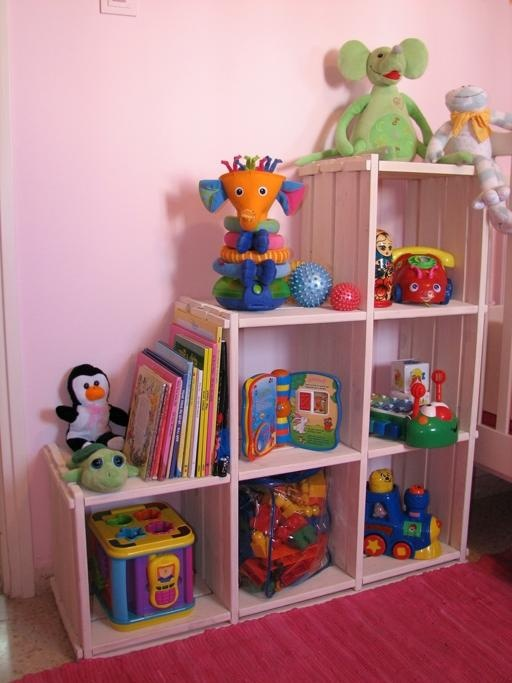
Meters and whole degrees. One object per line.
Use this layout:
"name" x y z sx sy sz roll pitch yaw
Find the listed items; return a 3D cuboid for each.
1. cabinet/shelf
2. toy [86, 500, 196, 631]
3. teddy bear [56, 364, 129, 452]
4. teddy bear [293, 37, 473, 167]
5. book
"cabinet/shelf" 0.002 0.146 1.298 1.077 0.981 0.331 -4 10 -28
"toy" -0.257 0.459 1.253 0.208 0.179 0.211 0 0 -28
"teddy bear" -0.376 0.150 1.301 0.169 0.161 0.113 -9 19 -42
"teddy bear" 0.311 -0.580 1.568 0.338 0.304 0.410 -5 13 -19
"book" -0.178 0.086 1.241 0.195 0.341 0.288 0 8 -16
